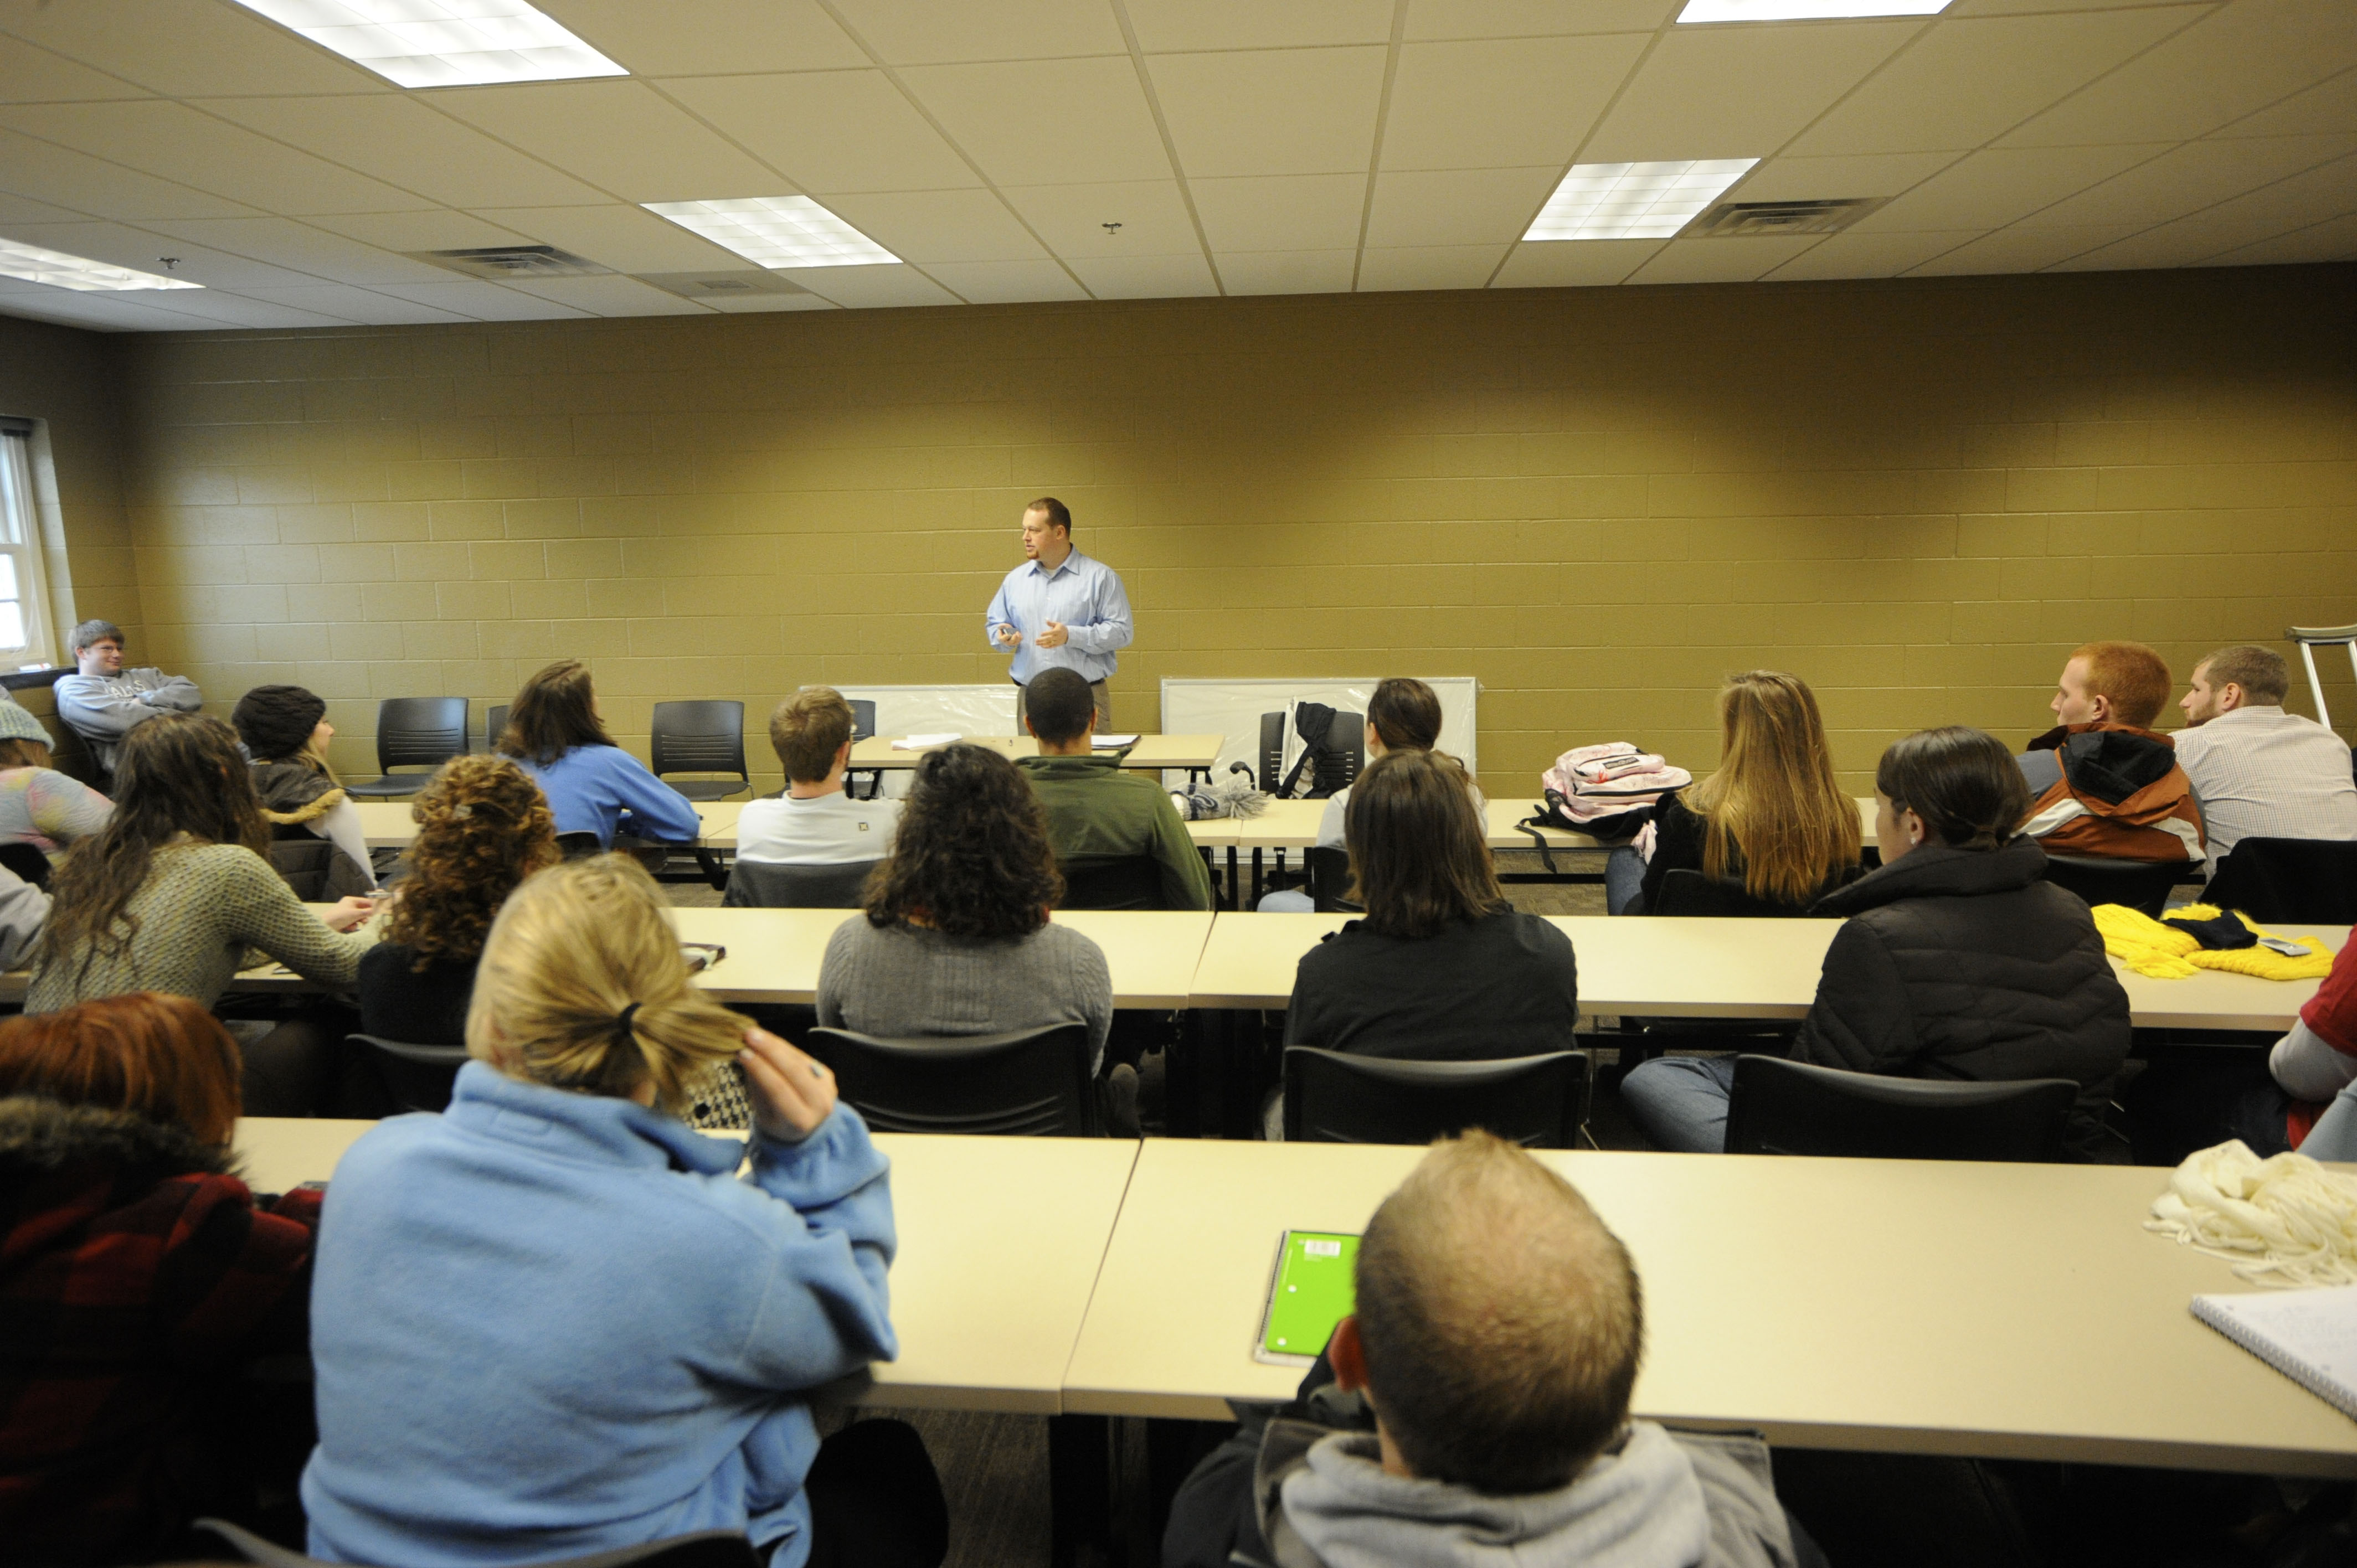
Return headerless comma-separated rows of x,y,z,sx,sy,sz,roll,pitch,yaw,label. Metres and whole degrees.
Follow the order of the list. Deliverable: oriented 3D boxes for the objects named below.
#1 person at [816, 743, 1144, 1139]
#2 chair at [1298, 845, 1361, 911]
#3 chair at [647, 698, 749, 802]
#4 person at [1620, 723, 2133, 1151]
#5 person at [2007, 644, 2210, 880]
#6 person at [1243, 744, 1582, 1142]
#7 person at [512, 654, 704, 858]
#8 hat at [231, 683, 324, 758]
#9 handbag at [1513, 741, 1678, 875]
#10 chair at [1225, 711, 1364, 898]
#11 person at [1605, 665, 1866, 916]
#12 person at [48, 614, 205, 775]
-0.423,0.449,3.818,0.801,1.024,0.700,0,9,-9,person
0.469,0.284,5.017,0.199,0.233,0.169,6,18,22,chair
-2.349,-0.176,8.038,0.520,0.687,0.545,0,6,-8,chair
1.759,0.380,3.806,1.054,0.996,0.957,-7,9,-25,person
2.713,-0.103,5.115,0.672,0.636,0.865,-2,11,14,person
0.513,0.315,3.704,0.961,1.004,0.572,0,21,9,person
-1.895,-0.066,5.246,0.749,0.608,0.444,17,26,35,person
-2.711,-0.193,4.864,0.204,0.196,0.256,13,5,41,hat
1.432,-0.007,5.527,0.510,0.194,0.522,11,36,10,handbag
0.432,0.080,5.926,0.546,0.774,0.811,1,5,-4,chair
1.386,-0.019,4.562,0.544,0.734,0.716,-3,21,5,person
-5.149,-0.381,8.053,0.647,0.777,0.643,8,13,39,person
